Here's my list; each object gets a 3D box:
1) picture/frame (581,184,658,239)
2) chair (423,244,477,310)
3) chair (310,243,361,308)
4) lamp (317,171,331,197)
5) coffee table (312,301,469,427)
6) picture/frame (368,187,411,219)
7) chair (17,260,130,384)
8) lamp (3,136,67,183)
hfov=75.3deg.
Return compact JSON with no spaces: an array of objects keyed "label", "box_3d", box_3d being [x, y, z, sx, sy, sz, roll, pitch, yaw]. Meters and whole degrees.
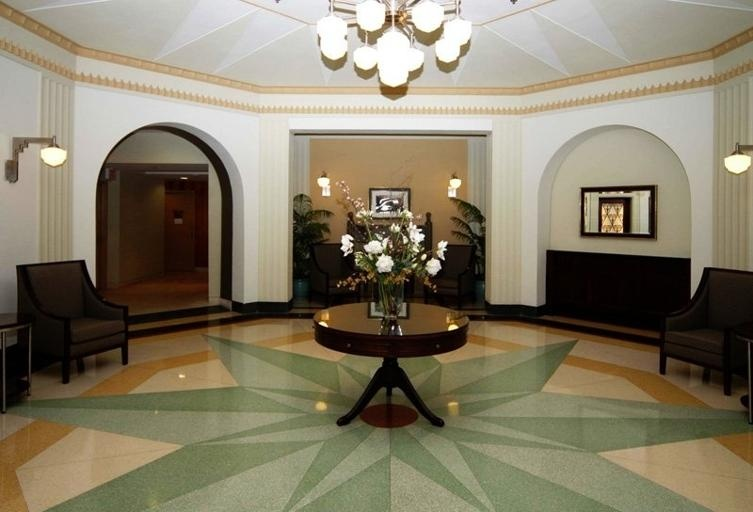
[{"label":"picture/frame","box_3d":[4.231,-0.774,8.386,0.975,0.787,0.074,3,5,35]},{"label":"chair","box_3d":[1.617,0.353,10.396,1.024,1.115,1.037,1,9,13]},{"label":"chair","box_3d":[-0.902,0.306,10.483,1.154,1.101,1.159,2,5,6]},{"label":"lamp","box_3d":[-1.232,-1.660,11.433,0.315,0.559,0.498,-1,14,-6]},{"label":"coffee table","box_3d":[0.130,1.262,5.470,1.555,0.960,1.527,3,-2,-34]},{"label":"picture/frame","box_3d":[0.285,-1.223,10.919,1.150,0.785,0.080,-1,4,0]},{"label":"chair","box_3d":[-3.975,0.775,6.414,1.076,1.367,1.011,12,18,39]},{"label":"lamp","box_3d":[-4.412,-1.316,6.693,0.970,0.743,0.427,-1,3,-5]}]
